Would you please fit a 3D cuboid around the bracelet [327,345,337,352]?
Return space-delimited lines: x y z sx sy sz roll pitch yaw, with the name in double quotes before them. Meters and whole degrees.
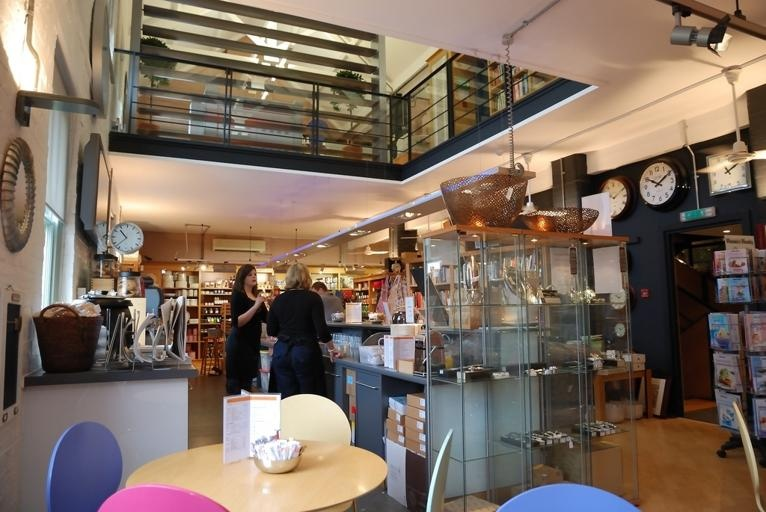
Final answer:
"bracelet" -0.573 1.049 6.604 0.073 0.047 0.096 -2 -13 -10

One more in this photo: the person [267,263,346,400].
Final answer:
"person" -0.926 0.784 6.288 0.690 1.421 0.298 -2 -5 0

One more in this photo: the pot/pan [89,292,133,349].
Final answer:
"pot/pan" -2.288 0.571 5.233 0.439 0.480 0.435 -2 -6 6

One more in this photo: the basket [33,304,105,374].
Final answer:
"basket" -2.581 0.650 4.799 0.526 0.533 0.523 1 -2 -30

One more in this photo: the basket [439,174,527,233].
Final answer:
"basket" 0.905 -0.443 5.122 0.529 0.310 0.569 2 -5 -36

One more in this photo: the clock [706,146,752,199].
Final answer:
"clock" 4.380 -1.069 7.325 0.059 0.486 0.499 4 -7 -31

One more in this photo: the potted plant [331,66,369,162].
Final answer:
"potted plant" -0.679 -2.854 11.349 0.597 2.301 1.559 -1 -5 -3

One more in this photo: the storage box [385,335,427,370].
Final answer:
"storage box" 0.205 0.935 5.665 0.451 0.421 0.332 1 -8 -5

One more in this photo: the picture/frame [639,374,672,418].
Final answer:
"picture/frame" 3.791 1.961 8.061 0.063 0.774 0.601 13 -11 -34

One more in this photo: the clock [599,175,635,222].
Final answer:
"clock" 3.505 -0.886 8.646 0.171 0.640 0.499 1 -6 -25

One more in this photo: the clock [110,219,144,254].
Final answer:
"clock" -3.555 -0.248 8.095 0.403 0.448 0.450 0 -8 -19

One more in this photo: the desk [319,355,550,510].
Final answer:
"desk" 0.727 1.218 5.532 1.181 1.097 2.231 1 -3 -31

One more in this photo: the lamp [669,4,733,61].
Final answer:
"lamp" 2.944 -2.079 5.385 0.463 0.419 0.557 -5 -6 29

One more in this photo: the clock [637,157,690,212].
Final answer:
"clock" 3.904 -1.005 7.992 0.129 0.773 0.783 1 -5 -23
